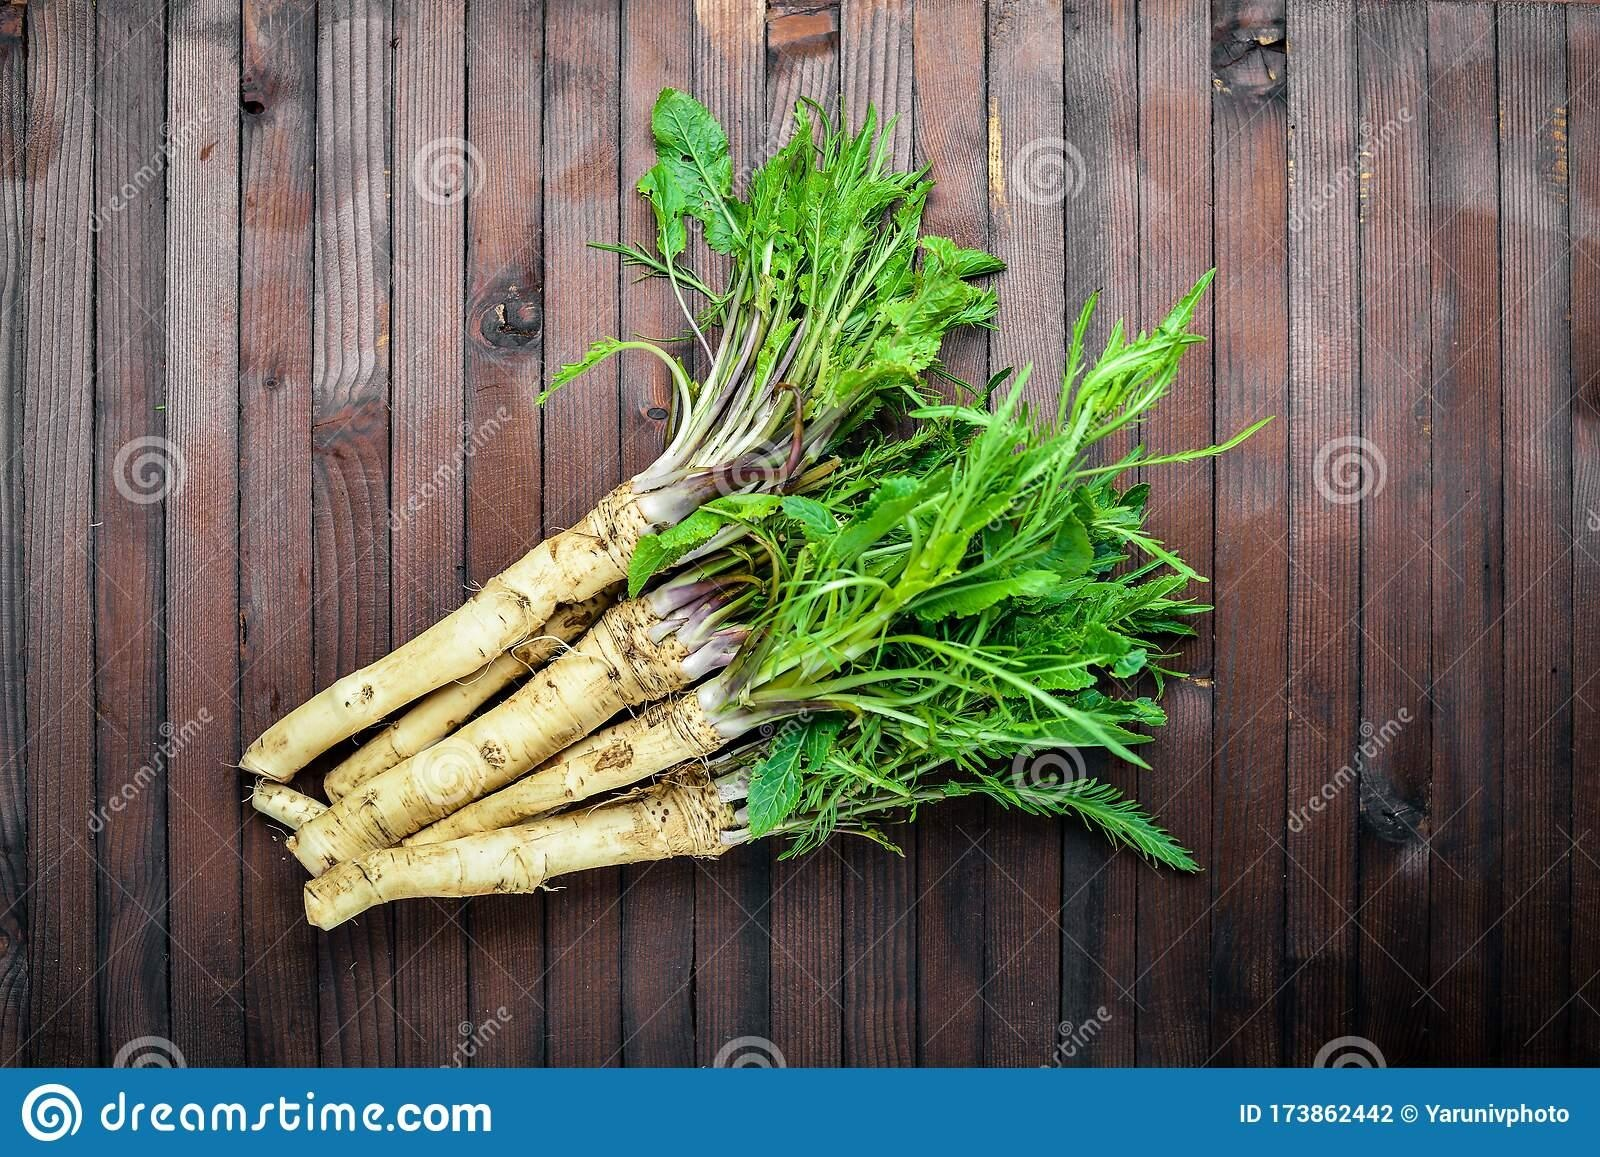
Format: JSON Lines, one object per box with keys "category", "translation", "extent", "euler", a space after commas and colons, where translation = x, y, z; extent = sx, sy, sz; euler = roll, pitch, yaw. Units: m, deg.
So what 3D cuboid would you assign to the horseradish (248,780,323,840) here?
{"category": "horseradish", "translation": [-1.000, 0.440, 3.377], "extent": [0.164, 0.064, 0.078], "euler": [22, 57, 4]}
